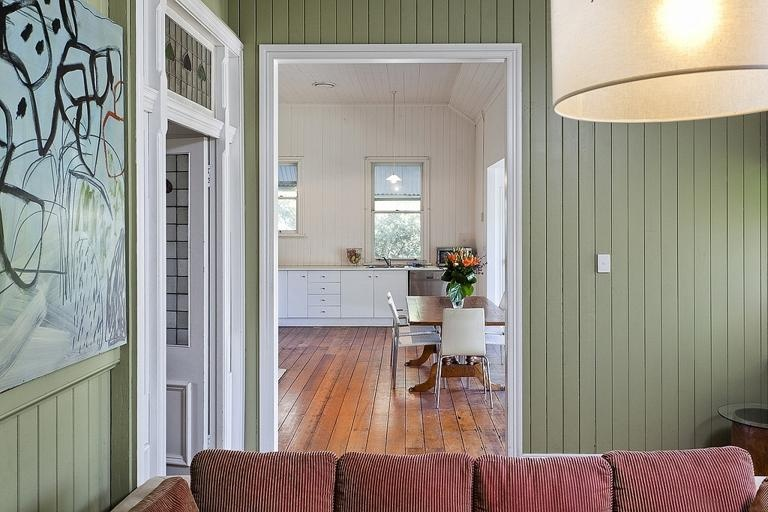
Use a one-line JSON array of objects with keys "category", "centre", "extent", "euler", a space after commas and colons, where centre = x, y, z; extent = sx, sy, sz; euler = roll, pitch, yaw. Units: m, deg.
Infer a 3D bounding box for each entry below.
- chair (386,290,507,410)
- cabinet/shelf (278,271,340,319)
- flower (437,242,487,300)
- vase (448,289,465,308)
[{"category": "chair", "centre": [0.565, 0.918, 6.123], "extent": [0.878, 1.039, 1.092], "euler": [0, 3, 5]}, {"category": "cabinet/shelf", "centre": [-1.067, 0.524, 8.516], "extent": [0.656, 0.632, 0.268], "euler": [0, -2, -1]}, {"category": "flower", "centre": [0.700, 0.177, 5.475], "extent": [0.308, 0.502, 0.477], "euler": [0, -1, 6]}, {"category": "vase", "centre": [0.674, 0.387, 5.485], "extent": [0.138, 0.250, 0.149], "euler": [5, 15, 19]}]
